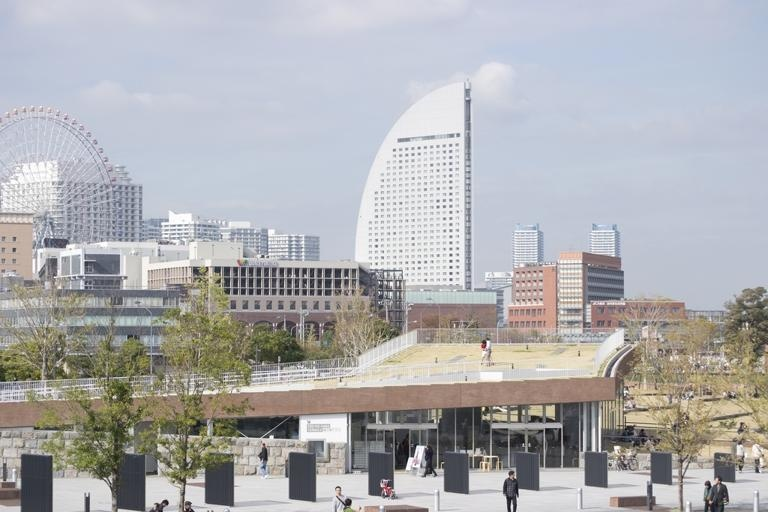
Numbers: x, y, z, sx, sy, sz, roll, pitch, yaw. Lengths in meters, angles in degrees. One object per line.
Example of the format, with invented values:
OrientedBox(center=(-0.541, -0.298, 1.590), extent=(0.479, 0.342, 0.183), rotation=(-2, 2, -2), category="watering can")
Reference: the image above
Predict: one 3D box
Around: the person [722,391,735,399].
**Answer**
OrientedBox(center=(39.040, 16.179, 247.269), extent=(1.284, 0.688, 1.812), rotation=(-2, -7, 43), category="person")

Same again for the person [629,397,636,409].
OrientedBox(center=(35.296, 21.455, 309.757), extent=(1.098, 0.891, 1.787), rotation=(1, 2, 11), category="person")
